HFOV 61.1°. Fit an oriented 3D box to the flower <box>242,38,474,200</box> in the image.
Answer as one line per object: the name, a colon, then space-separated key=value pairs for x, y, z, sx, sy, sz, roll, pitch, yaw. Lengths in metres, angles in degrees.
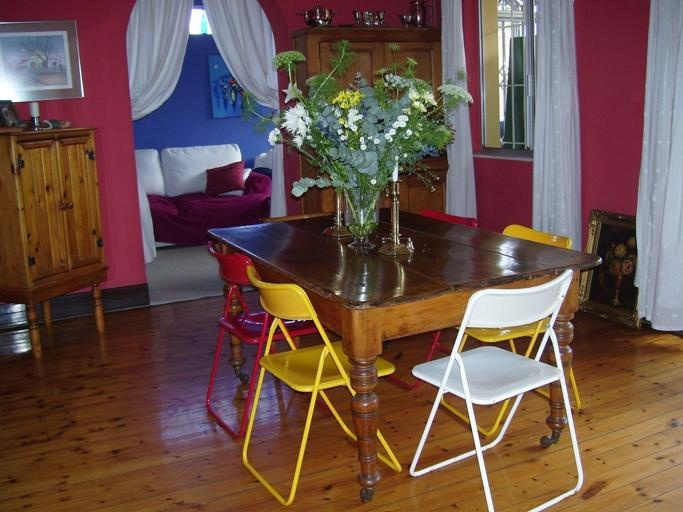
flower: x=0.047 y=-0.902 z=3.868 sx=1.179 sy=0.941 sz=1.889 roll=-4 pitch=12 yaw=-4

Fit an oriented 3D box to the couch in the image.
couch: x=-1.791 y=-0.842 z=7.663 sx=2.152 sy=1.381 sz=1.491 roll=-7 pitch=14 yaw=-25

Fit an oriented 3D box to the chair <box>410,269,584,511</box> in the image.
chair: x=0.770 y=0.602 z=2.802 sx=0.759 sy=1.076 sz=0.631 roll=-11 pitch=16 yaw=-32

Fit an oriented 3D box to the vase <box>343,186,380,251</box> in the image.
vase: x=0.121 y=-0.213 z=3.362 sx=0.321 sy=0.426 sz=0.308 roll=0 pitch=11 yaw=-2
